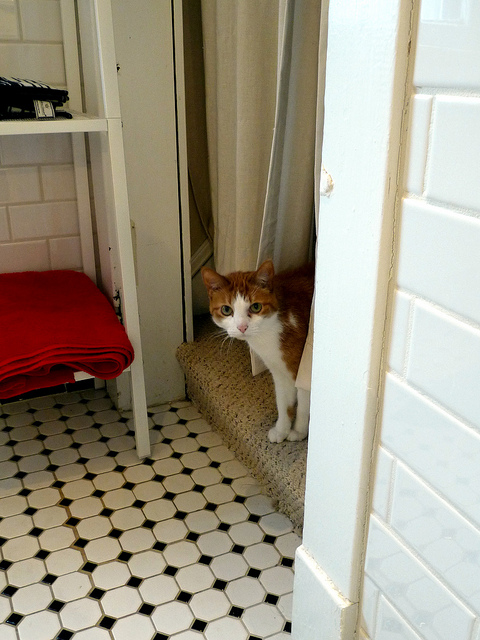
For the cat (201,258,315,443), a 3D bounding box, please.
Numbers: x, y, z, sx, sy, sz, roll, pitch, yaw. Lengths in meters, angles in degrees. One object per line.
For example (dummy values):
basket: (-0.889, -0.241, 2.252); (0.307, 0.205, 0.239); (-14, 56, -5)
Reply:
cat: (0.165, 0.059, 1.582); (0.187, 0.510, 0.763); (-9, 7, 24)
